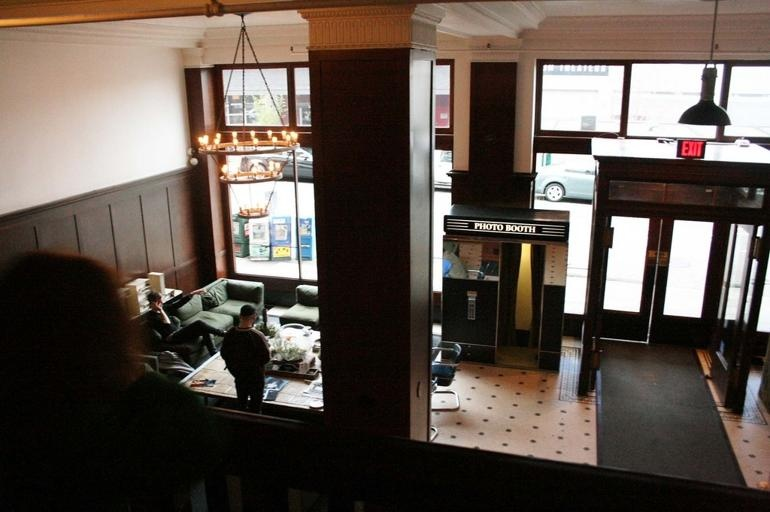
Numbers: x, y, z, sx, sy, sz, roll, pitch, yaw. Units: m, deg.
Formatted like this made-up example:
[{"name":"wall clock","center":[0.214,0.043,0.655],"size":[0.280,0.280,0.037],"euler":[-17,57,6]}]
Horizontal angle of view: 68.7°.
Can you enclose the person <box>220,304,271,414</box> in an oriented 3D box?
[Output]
[{"name":"person","center":[-1.591,1.157,6.338],"size":[0.558,1.170,0.780],"euler":[3,-11,11]}]

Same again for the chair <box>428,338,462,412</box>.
[{"name":"chair","center":[0.752,1.666,7.877],"size":[0.643,0.742,0.660],"euler":[2,9,0]}]

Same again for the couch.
[{"name":"couch","center":[-2.410,0.968,7.616],"size":[0.574,0.469,1.633],"euler":[8,20,5]}]

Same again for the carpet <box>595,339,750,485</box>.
[{"name":"carpet","center":[3.690,2.137,7.792],"size":[1.309,3.500,0.065],"euler":[-4,45,24]}]
